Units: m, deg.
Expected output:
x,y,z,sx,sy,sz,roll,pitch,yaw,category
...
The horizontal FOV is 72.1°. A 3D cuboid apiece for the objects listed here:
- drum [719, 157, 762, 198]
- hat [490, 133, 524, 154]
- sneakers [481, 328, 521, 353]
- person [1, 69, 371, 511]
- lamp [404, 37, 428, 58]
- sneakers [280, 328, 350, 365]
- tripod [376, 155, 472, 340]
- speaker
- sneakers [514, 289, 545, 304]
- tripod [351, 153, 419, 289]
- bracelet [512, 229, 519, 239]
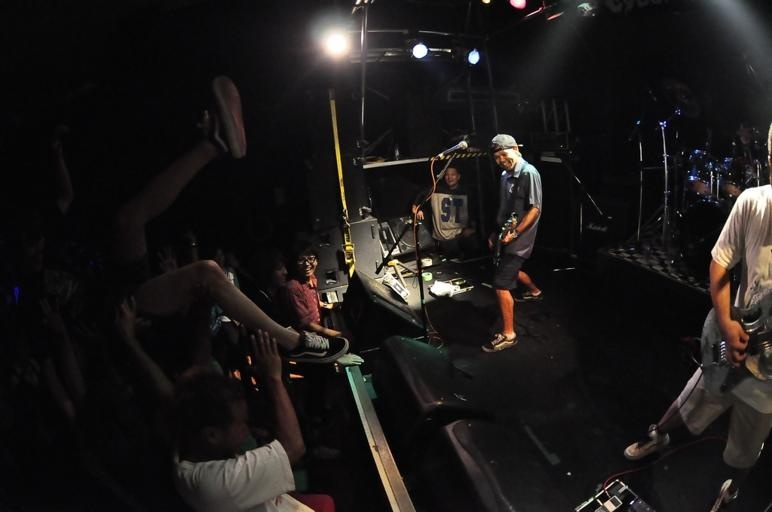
x,y,z,sx,sy,sz,roll,pitch,yaw,category
4.016,-0.882,6.017,0.313,0.552,0.544,7,19,41,drum
1.192,-1.070,5.253,0.370,0.183,0.256,-2,21,2,hat
1.149,0.851,5.314,0.367,0.170,0.155,-4,4,-17,sneakers
-1.216,0.198,2.869,1.273,2.356,0.474,-4,9,-25,person
0.388,-2.477,6.369,0.226,0.196,0.300,1,9,9,lamp
-0.486,0.631,3.625,0.433,0.173,0.161,-6,43,-35,sneakers
0.443,-0.119,5.497,0.986,2.051,0.503,0,1,36,tripod
0.179,0.863,4.366,0.658,0.685,2.066,-6,20,-13,speaker
1.645,0.468,6.127,0.311,0.138,0.137,2,2,11,sneakers
-0.248,-0.493,7.169,0.693,1.250,1.310,-9,4,22,tripod
1.237,-0.211,5.083,0.088,0.095,0.024,3,0,18,bracelet
